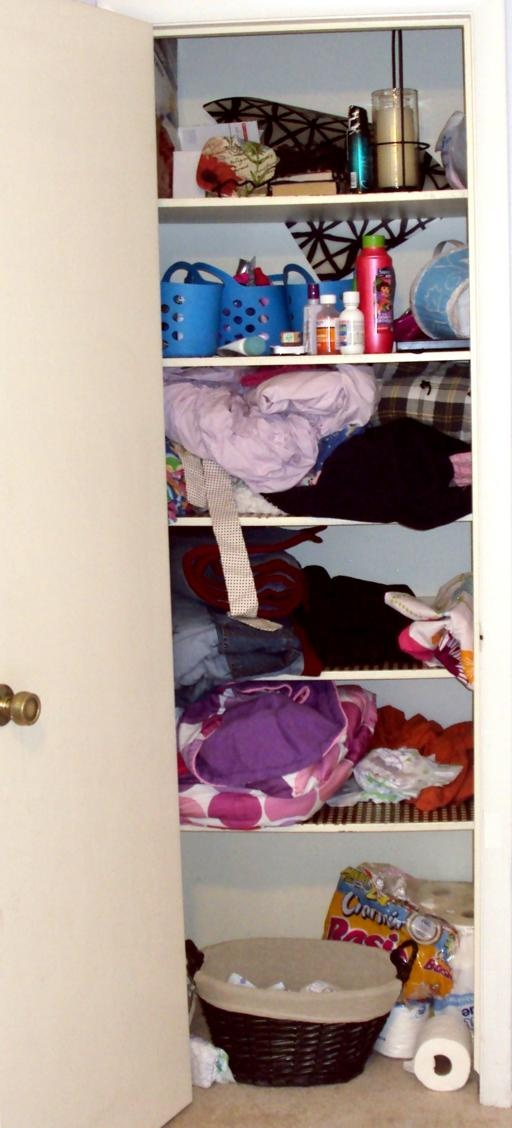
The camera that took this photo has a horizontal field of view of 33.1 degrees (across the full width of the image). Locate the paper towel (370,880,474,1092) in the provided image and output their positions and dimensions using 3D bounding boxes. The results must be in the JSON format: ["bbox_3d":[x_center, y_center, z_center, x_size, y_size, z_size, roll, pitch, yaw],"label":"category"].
[{"bbox_3d":[0.350,0.894,1.838,0.209,0.111,0.332,3,10,18],"label":"paper towel"}]

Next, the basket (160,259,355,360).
[{"bbox_3d":[-0.024,-0.565,1.991,0.379,0.287,0.244,0,4,-12],"label":"basket"}]

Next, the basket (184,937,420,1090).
[{"bbox_3d":[0.078,0.887,1.817,0.322,0.221,0.296,-1,-9,-1],"label":"basket"}]

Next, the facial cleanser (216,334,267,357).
[{"bbox_3d":[-0.031,-0.456,1.863,0.096,0.048,0.062,-7,-4,34],"label":"facial cleanser"}]
